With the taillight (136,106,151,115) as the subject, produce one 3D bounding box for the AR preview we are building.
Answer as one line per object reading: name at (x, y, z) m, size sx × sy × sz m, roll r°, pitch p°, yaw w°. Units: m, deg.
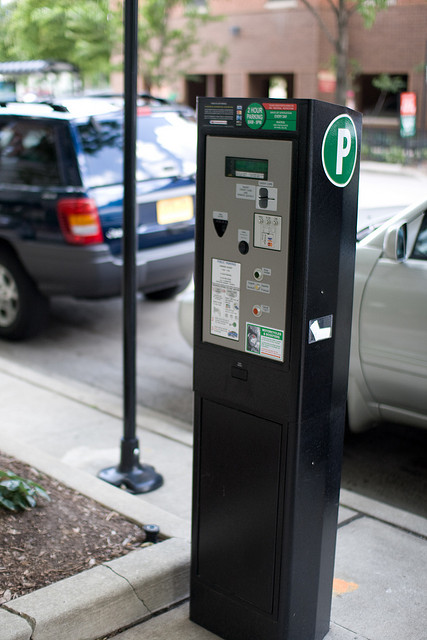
taillight at (-0.671, -2.004, 5.787) m, size 0.097 × 0.077 × 0.217 m, roll 10°, pitch 21°, yaw 31°
